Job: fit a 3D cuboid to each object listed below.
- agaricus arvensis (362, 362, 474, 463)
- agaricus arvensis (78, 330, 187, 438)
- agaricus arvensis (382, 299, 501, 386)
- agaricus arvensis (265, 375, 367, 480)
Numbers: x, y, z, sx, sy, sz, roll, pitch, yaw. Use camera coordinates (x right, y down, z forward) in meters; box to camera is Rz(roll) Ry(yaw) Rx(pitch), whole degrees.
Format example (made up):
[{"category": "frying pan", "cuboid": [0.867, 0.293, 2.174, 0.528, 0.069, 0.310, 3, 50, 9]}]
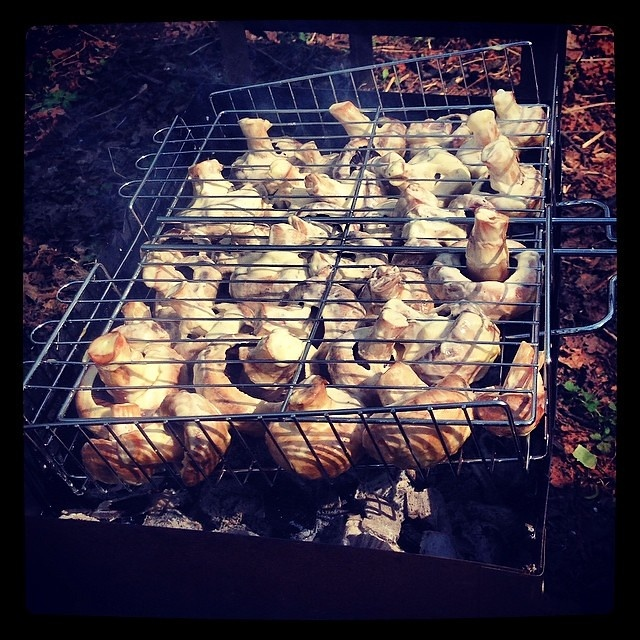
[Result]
[{"category": "agaricus arvensis", "cuboid": [0.195, 0.206, 1.776, 0.240, 0.242, 0.188, -7, 36, 8]}, {"category": "agaricus arvensis", "cuboid": [-0.423, 0.116, 1.950, 0.253, 0.105, 0.241, 10, 58, 12]}, {"category": "agaricus arvensis", "cuboid": [0.246, 0.046, 1.872, 0.265, 0.100, 0.151, 16, 71, 6]}, {"category": "agaricus arvensis", "cuboid": [-0.005, 0.212, 1.811, 0.183, 0.189, 0.134, 18, 59, 6]}]
